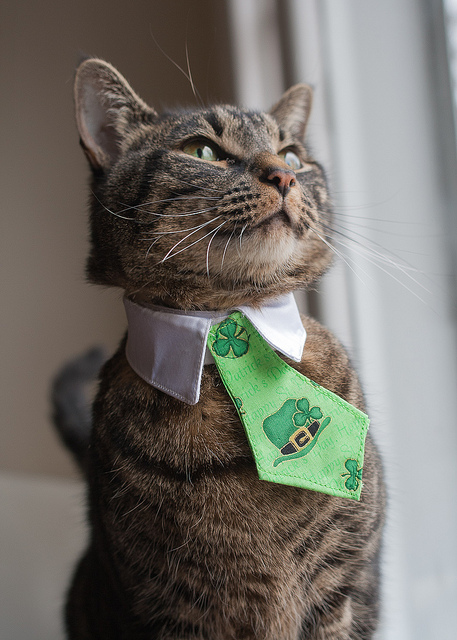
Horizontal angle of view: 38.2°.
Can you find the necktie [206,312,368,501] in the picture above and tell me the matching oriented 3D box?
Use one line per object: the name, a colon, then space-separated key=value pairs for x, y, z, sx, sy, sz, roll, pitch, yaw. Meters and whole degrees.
necktie: x=0.065 y=0.106 z=0.768 sx=0.149 sy=0.012 sz=0.240 roll=-28 pitch=61 yaw=-17
